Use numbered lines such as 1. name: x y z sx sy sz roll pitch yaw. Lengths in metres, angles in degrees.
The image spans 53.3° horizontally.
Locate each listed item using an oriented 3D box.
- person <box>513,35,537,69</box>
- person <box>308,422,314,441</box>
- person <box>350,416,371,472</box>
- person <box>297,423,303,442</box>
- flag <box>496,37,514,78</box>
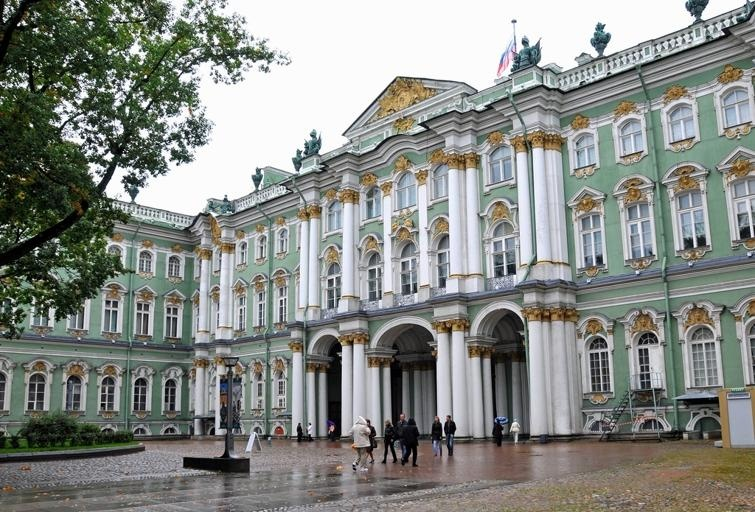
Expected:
1. person: 7.708 -10.729 39.414 1.490 2.043 1.201 -4 -17 9
2. person: -4.007 10.550 45.391 0.310 1.043 0.825 0 -17 -6
3. person: -0.497 6.524 26.234 0.832 1.814 0.752 -6 -16 7
4. person: -4.576 10.573 45.332 0.406 1.079 1.422 0 -17 -6
5. flag: 7.043 -10.924 41.049 0.559 2.059 1.464 11 -21 -34
